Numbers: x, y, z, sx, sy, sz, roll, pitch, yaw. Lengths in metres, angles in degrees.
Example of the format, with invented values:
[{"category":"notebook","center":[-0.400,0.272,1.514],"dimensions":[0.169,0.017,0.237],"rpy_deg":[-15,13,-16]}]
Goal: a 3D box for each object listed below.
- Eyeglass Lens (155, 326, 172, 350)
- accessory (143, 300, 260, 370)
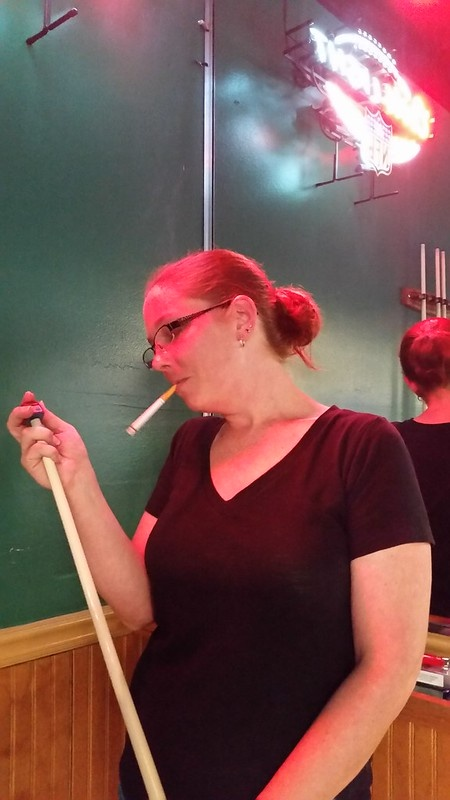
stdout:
[{"category":"Eyeglass Lens","center":[-0.092,-0.095,1.038],"dimensions":[0.032,0.032,0.010],"rpy_deg":[-37,91,-34]},{"category":"accessory","center":[-0.042,-0.121,1.060],"dimensions":[0.134,0.128,0.040],"rpy_deg":[-29,84,-19]}]
